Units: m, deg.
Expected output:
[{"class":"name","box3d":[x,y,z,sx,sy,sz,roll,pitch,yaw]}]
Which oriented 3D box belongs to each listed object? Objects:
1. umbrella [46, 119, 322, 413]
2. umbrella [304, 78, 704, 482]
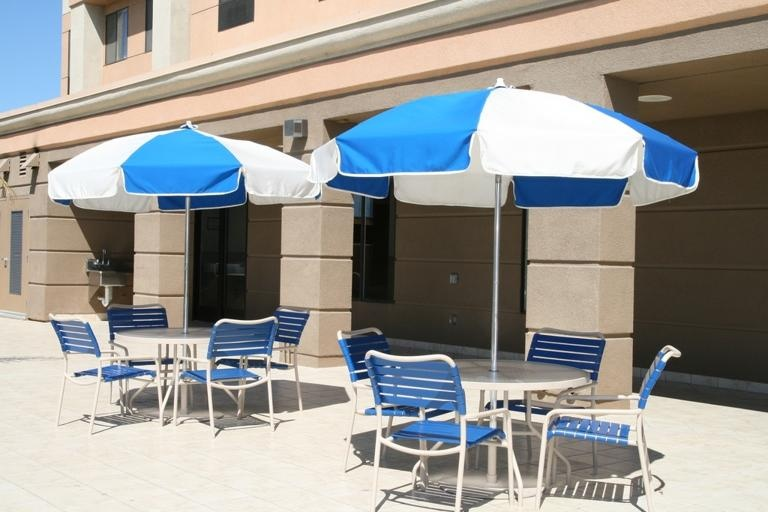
[{"class":"umbrella","box3d":[-2.494,-0.365,9.345,2.795,2.520,2.447,-2,-4,38]},{"class":"umbrella","box3d":[1.092,0.181,7.867,3.491,2.805,3.437,5,6,5]}]
